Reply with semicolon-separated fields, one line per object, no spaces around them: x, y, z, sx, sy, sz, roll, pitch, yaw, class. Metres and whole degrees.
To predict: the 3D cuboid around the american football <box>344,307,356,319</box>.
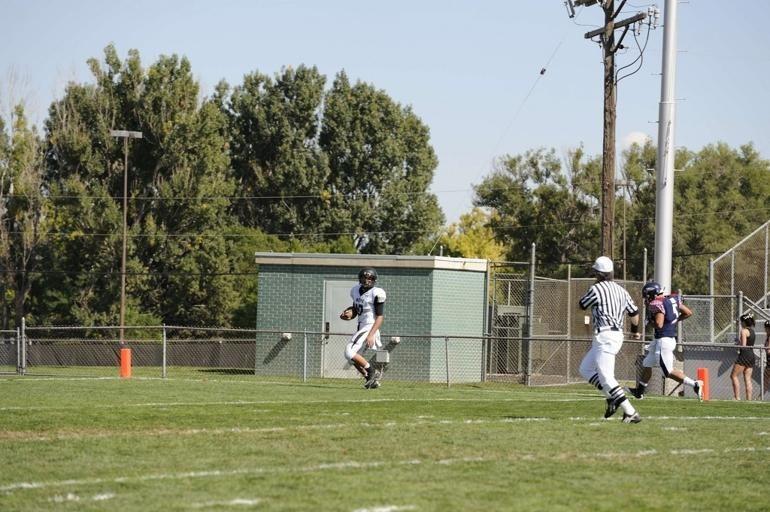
-1.299;2.196;48.455;0.312;0.174;0.432;12;41;10;american football

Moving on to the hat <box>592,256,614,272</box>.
7.494;0.286;45.378;0.469;0.383;0.648;-2;18;-19;hat
